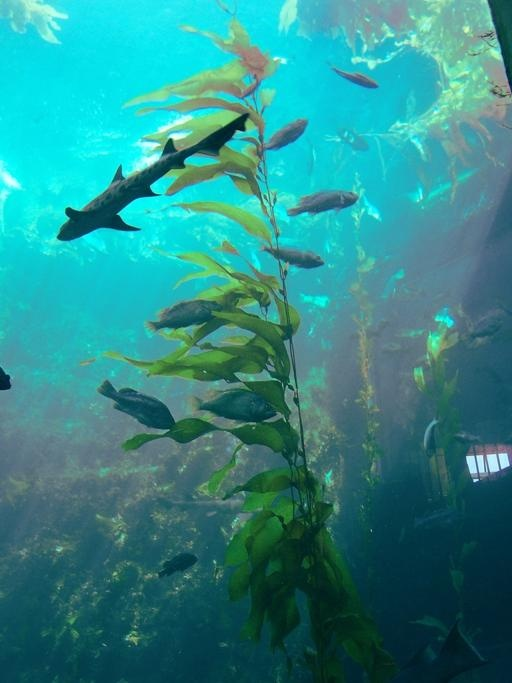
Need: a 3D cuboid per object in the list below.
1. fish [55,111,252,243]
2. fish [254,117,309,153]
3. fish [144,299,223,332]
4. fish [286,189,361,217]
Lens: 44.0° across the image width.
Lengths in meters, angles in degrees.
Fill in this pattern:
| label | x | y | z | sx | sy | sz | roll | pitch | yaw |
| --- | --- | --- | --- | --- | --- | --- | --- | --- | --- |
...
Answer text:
| label | x | y | z | sx | sy | sz | roll | pitch | yaw |
| --- | --- | --- | --- | --- | --- | --- | --- | --- | --- |
| fish | -1.191 | -1.867 | 7.414 | 2.344 | 1.166 | 0.551 | -33 | -26 | -1 |
| fish | 0.338 | -2.713 | 8.191 | 0.512 | 0.331 | 1.249 | -6 | 15 | 35 |
| fish | -0.826 | -0.343 | 7.726 | 1.005 | 0.377 | 0.305 | -17 | -7 | 8 |
| fish | 1.049 | -2.032 | 9.088 | 1.024 | 0.284 | 0.439 | -7 | 3 | -26 |
